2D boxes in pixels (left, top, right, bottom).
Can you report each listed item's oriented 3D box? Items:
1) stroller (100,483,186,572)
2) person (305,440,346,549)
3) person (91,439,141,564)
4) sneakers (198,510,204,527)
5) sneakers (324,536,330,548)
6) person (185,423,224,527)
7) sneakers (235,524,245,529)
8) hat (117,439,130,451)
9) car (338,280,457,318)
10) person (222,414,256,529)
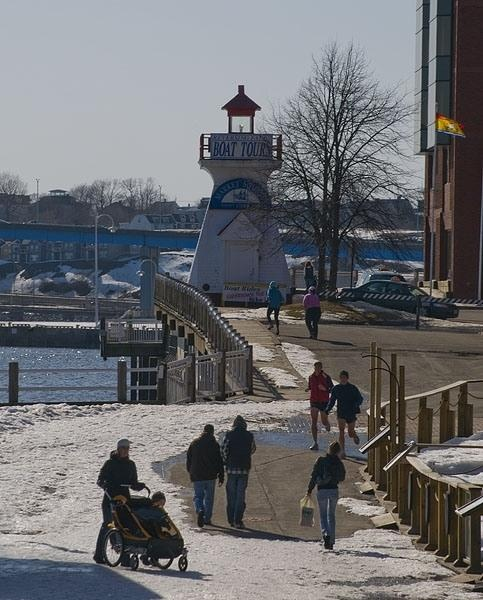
[{"bbox_3d":[-1.154,2.756,18.895,0.754,1.022,1.247,9,-10,-39],"label":"stroller"},{"bbox_3d":[1.077,2.450,20.172,0.475,1.256,1.694,0,0,3],"label":"person"},{"bbox_3d":[-1.548,2.568,19.592,0.675,1.906,0.610,19,-38,-31],"label":"person"},{"bbox_3d":[-0.514,2.824,20.272,0.064,0.189,0.075,-1,-3,-2],"label":"sneakers"},{"bbox_3d":[1.050,2.986,19.375,0.045,0.164,0.065,-1,-5,6],"label":"sneakers"},{"bbox_3d":[-0.459,2.285,20.535,0.478,1.311,0.249,-1,1,-21],"label":"person"},{"bbox_3d":[-0.019,2.929,20.388,0.117,0.059,0.145,0,0,-3],"label":"sneakers"},{"bbox_3d":[-1.410,1.782,19.240,0.141,0.119,0.244,3,-7,23],"label":"hat"},{"bbox_3d":[4.666,-0.018,47.949,3.118,1.196,1.434,4,4,8],"label":"car"},{"bbox_3d":[-0.034,2.260,20.675,0.423,1.397,0.702,0,1,0],"label":"person"}]
